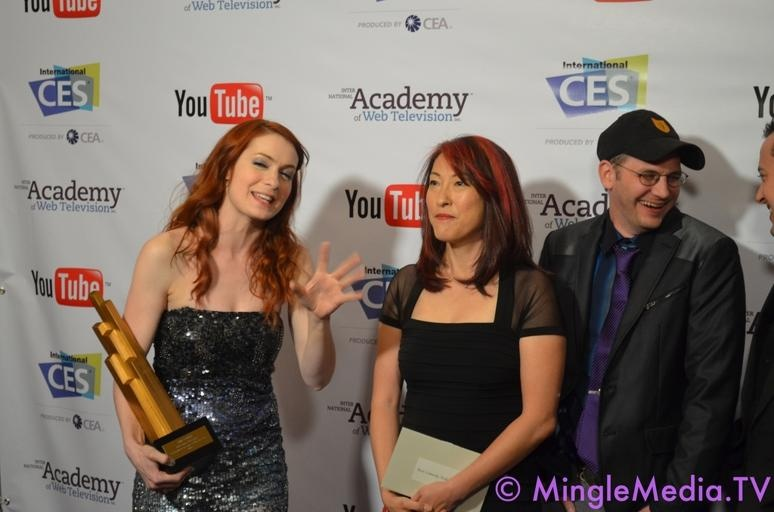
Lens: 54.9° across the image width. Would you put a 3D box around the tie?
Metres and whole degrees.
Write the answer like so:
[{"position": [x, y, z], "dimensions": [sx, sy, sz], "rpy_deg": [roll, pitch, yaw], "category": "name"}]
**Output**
[{"position": [1.153, 0.336, 3.739], "dimensions": [0.194, 1.449, 0.231], "rpy_deg": [5, -10, 26], "category": "tie"}]
